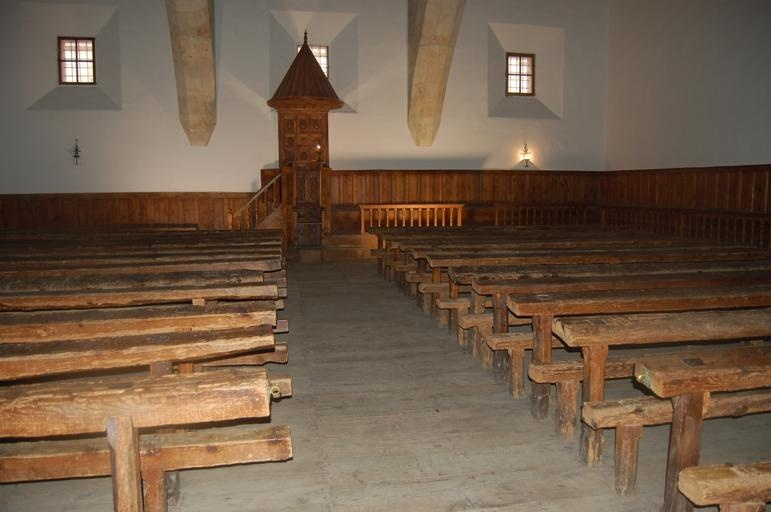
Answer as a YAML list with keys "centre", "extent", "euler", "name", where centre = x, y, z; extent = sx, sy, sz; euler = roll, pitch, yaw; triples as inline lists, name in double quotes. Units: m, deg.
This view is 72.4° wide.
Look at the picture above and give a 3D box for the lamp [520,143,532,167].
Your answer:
- centre: [4.155, -2.966, 15.537]
  extent: [0.355, 0.676, 0.132]
  euler: [-6, 15, -18]
  name: "lamp"
